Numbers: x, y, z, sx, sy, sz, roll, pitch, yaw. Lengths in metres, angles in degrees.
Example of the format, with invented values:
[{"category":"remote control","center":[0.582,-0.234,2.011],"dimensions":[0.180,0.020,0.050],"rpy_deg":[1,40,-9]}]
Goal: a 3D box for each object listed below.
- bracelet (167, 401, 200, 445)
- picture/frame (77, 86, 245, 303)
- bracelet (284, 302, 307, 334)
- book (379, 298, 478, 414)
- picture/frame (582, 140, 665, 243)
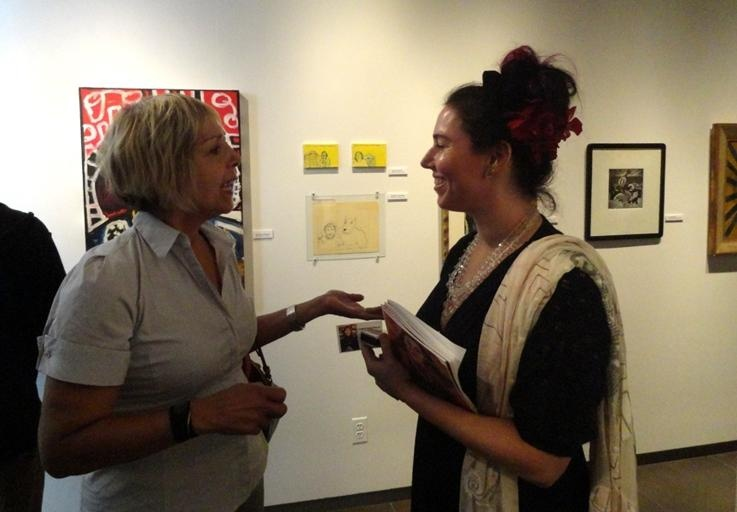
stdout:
[{"category":"bracelet","center":[-0.677,0.620,1.997],"dimensions":[0.066,0.137,0.100],"rpy_deg":[-3,-4,10]},{"category":"picture/frame","center":[-1.195,-0.506,3.228],"dimensions":[0.899,1.215,0.010],"rpy_deg":[-4,-21,-19]},{"category":"bracelet","center":[-0.361,0.308,2.717],"dimensions":[0.090,0.150,0.129],"rpy_deg":[-2,7,-5]},{"category":"book","center":[0.224,0.396,2.090],"dimensions":[0.374,0.396,0.277],"rpy_deg":[2,9,11]},{"category":"picture/frame","center":[1.737,-0.478,3.753],"dimensions":[0.707,0.855,0.057],"rpy_deg":[-1,5,-11]}]
